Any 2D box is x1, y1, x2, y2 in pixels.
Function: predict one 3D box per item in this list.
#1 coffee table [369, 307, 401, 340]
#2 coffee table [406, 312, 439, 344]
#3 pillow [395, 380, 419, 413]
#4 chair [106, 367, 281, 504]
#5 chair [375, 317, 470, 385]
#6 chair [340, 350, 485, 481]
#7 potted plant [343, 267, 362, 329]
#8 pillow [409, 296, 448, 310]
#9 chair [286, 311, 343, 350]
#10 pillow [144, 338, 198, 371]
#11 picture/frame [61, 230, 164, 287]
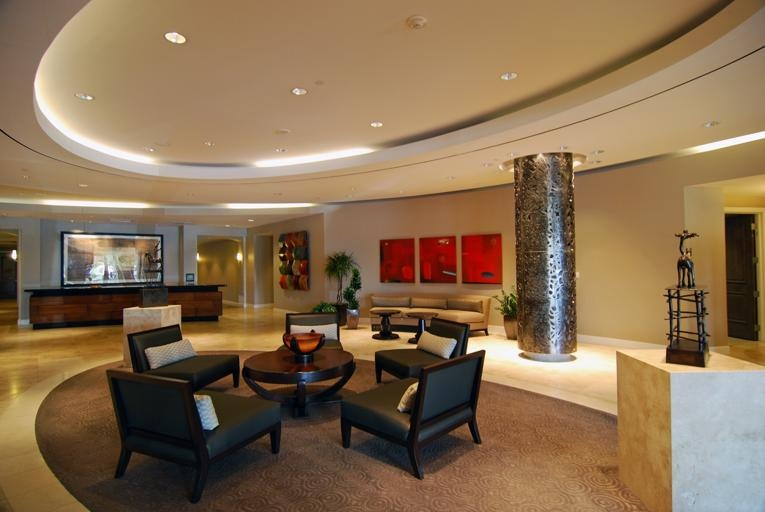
[{"bbox_3d":[0.103,1.462,10.209,0.572,0.505,0.582,0,0,30],"label":"coffee table"},{"bbox_3d":[0.854,1.403,9.655,0.738,0.726,0.740,2,-5,22],"label":"coffee table"},{"bbox_3d":[0.282,1.505,4.992,0.121,0.304,0.303,22,28,26],"label":"pillow"},{"bbox_3d":[-1.871,1.547,5.073,1.469,1.173,1.373,2,4,28],"label":"chair"},{"bbox_3d":[0.562,1.229,6.789,1.002,0.958,1.032,4,-7,-21],"label":"chair"},{"bbox_3d":[0.279,1.551,5.461,1.306,1.176,1.389,3,3,43],"label":"chair"},{"bbox_3d":[-0.708,0.989,11.628,0.441,1.308,1.023,-2,9,-2],"label":"potted plant"},{"bbox_3d":[1.087,1.052,10.989,1.336,0.202,0.478,0,6,22],"label":"pillow"},{"bbox_3d":[-1.091,1.095,7.552,0.777,0.609,0.566,0,-5,-8],"label":"chair"},{"bbox_3d":[-2.906,1.345,6.482,0.098,0.252,0.702,-21,-4,20],"label":"pillow"},{"bbox_3d":[-7.697,0.130,13.694,2.817,1.596,0.031,0,-1,1],"label":"picture/frame"}]
